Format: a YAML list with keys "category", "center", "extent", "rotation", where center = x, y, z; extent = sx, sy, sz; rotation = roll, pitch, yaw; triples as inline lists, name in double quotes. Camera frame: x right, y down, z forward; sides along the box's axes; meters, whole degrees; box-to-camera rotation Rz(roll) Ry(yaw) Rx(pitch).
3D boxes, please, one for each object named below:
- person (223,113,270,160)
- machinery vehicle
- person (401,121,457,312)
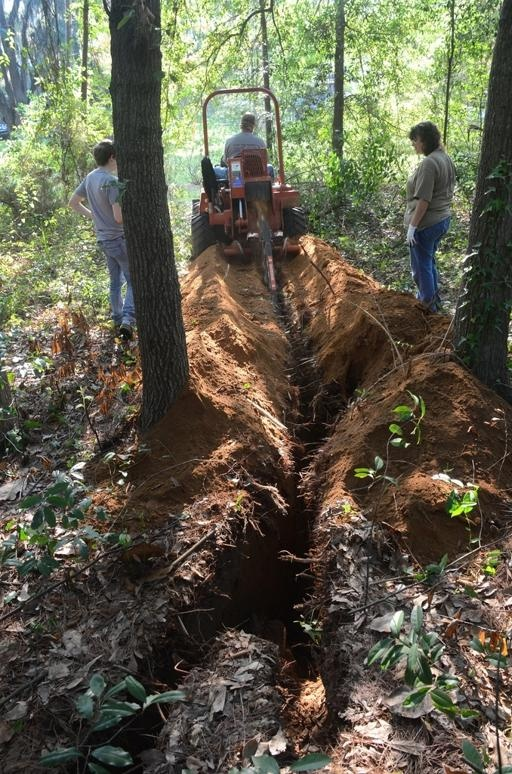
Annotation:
- category: "person"
  center: [-0.133, -3.244, 7.435]
  extent: [0.510, 0.739, 0.483]
  rotation: [17, 57, 3]
- category: "machinery vehicle"
  center: [-0.060, -2.451, 7.410]
  extent: [1.175, 2.012, 3.619]
  rotation: [-3, 43, -4]
- category: "person"
  center: [1.509, -1.446, 5.073]
  extent: [0.414, 1.667, 0.673]
  rotation: [4, 21, 17]
